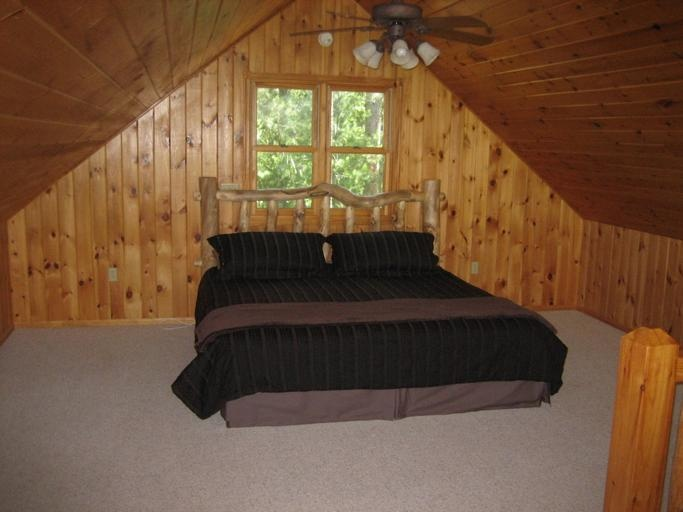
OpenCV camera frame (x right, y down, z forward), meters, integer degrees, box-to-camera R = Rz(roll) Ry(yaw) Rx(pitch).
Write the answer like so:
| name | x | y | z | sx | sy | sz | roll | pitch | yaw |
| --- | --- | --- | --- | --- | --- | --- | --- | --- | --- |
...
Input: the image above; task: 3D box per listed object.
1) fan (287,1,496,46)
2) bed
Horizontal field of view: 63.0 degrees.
| name | x | y | z | sx | sy | sz | roll | pitch | yaw |
| --- | --- | --- | --- | --- | --- | --- | --- | --- | --- |
| fan | 0.338 | -1.663 | 3.955 | 0.858 | 0.321 | 0.876 | 15 | 21 | 36 |
| bed | -0.004 | -0.365 | 3.942 | 2.285 | 1.199 | 1.974 | -3 | 17 | -9 |
